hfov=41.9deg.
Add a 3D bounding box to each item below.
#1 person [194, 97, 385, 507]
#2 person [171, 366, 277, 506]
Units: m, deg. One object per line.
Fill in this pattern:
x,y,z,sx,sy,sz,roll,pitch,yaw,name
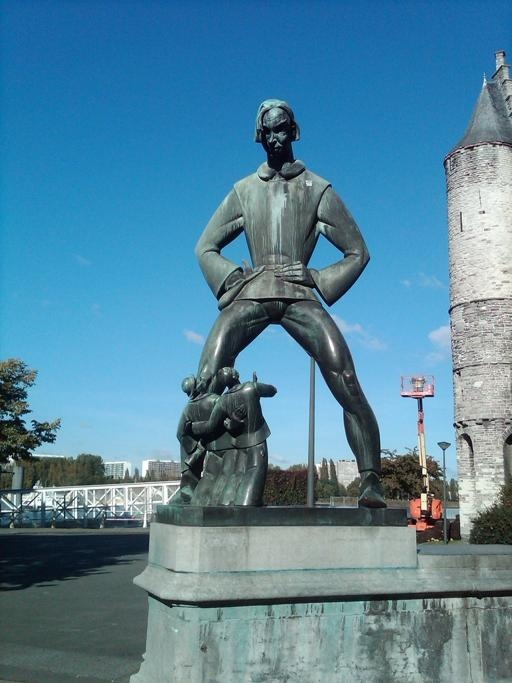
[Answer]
0.243,-0.282,4.907,1.318,2.921,0.687,1,-15,-6,person
-0.239,0.671,4.626,0.388,0.904,0.838,13,-20,-41,person
